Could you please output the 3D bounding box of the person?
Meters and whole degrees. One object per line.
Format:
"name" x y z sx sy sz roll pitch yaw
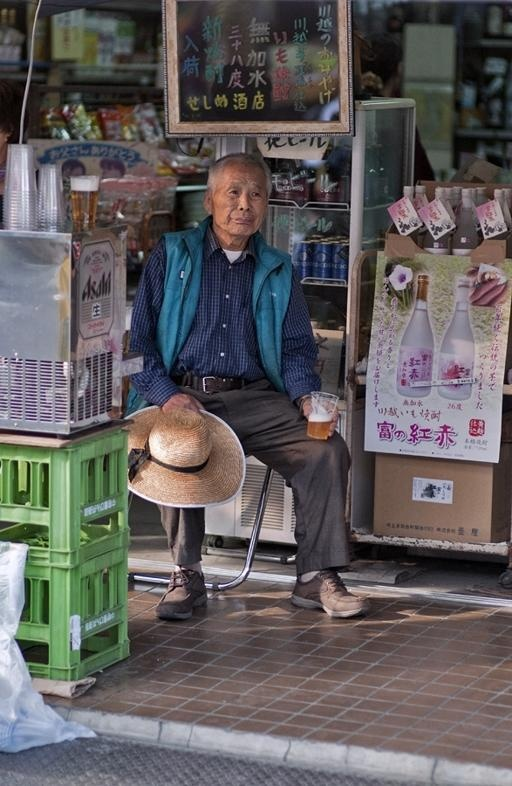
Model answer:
"person" -0.055 0.009 3.640 0.966 1.866 0.907 0 3 -2

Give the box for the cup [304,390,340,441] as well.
"cup" 0.258 0.089 3.211 0.114 0.178 0.116 -1 4 0

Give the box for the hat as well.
"hat" -0.262 0.233 3.123 0.429 0.357 0.280 -1 4 -8

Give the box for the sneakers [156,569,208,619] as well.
"sneakers" -0.283 0.787 3.238 0.186 0.133 0.404 1 3 12

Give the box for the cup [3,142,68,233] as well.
"cup" -0.644 -0.585 2.416 0.172 0.251 0.165 -1 4 0
